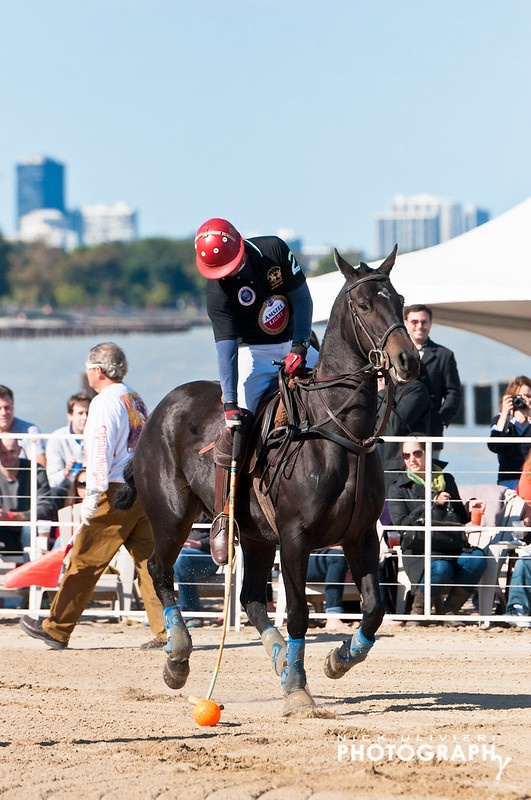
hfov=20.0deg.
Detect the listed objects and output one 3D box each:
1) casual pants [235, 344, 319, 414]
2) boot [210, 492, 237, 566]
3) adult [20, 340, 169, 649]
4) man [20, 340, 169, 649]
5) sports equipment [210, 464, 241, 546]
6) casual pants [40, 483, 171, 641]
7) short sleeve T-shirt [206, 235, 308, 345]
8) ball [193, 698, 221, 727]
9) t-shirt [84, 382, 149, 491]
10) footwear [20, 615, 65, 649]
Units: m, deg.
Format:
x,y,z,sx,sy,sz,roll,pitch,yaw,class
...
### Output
x,y,z,sx,sy,sz,roll,pitch,yaw,class
0.032,-0.134,7.640,0.139,0.369,0.370,28,22,29,casual pants
-0.218,0.653,7.529,0.112,0.366,0.140,1,-19,3,boot
-1.024,0.613,9.090,0.909,1.853,0.655,1,-4,-2,adult
-1.026,0.617,9.097,0.910,1.831,0.678,2,-6,-3,man
-0.207,0.583,7.470,0.110,0.486,0.125,4,-16,-4,sports equipment
-0.970,1.001,9.255,0.834,1.168,0.890,1,-5,4,casual pants
-0.063,-0.539,7.510,0.556,0.625,0.396,-9,38,-11,short sleeve T-shirt
-0.276,1.461,6.966,0.122,0.124,0.235,-1,0,-2,ball
-0.883,0.245,8.812,0.228,0.526,0.606,8,9,9,t-shirt
-1.371,1.433,9.191,0.263,0.127,0.096,37,21,15,footwear
